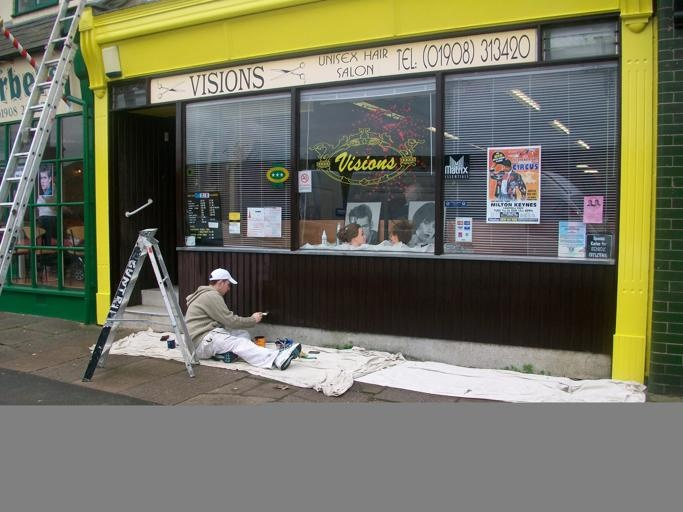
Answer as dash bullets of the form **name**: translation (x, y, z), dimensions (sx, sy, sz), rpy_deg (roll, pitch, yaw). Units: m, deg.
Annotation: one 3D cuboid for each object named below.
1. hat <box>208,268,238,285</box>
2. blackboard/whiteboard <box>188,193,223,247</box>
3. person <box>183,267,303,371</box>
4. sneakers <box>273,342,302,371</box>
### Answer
- **hat**: translation (-1.629, 0.266, 8.656), dimensions (0.391, 0.217, 0.251), rpy_deg (-1, 3, -30)
- **blackboard/whiteboard**: translation (-2.132, -0.574, 9.835), dimensions (0.841, 1.071, 0.087), rpy_deg (2, 6, 25)
- **person**: translation (-1.271, 0.879, 8.591), dimensions (1.725, 1.368, 1.020), rpy_deg (1, -1, -13)
- **sneakers**: translation (-0.683, 1.299, 8.164), dimensions (0.228, 0.169, 0.491), rpy_deg (9, 27, 23)
